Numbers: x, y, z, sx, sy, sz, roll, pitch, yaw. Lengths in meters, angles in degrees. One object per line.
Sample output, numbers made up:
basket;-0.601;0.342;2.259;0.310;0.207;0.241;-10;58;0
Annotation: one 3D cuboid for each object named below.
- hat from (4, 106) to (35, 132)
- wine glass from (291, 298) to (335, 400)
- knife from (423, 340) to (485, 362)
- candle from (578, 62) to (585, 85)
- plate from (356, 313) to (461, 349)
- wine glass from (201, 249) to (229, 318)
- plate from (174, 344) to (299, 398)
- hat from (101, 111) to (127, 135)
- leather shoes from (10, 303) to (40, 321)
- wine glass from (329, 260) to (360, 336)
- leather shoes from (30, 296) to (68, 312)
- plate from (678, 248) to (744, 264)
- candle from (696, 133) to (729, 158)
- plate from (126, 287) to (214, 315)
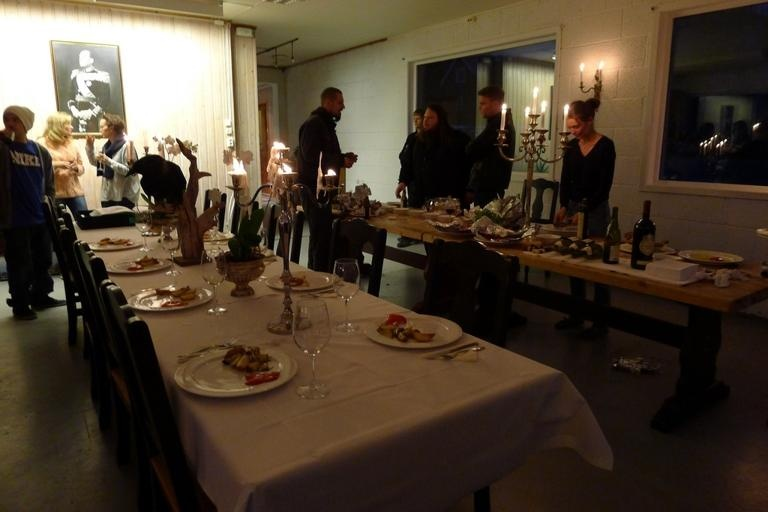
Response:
hat;-3.362;-1.266;5.064;0.223;0.263;0.298;-3;15;-10
wine glass;-0.318;0.368;2.378;0.146;0.391;0.309;-3;15;-8
knife;0.326;0.440;2.542;0.297;0.092;0.098;-7;18;-28
candle;2.153;-1.990;5.945;0.059;0.207;0.155;3;16;13
plate;0.144;0.357;2.665;0.452;0.097;0.331;7;17;27
wine glass;-0.921;0.119;2.940;0.111;0.311;0.358;-6;16;-17
plate;-0.654;0.509;2.404;0.527;0.092;0.296;-2;15;-3
hat;-3.093;-1.496;6.206;0.150;0.202;0.227;0;15;5
leather shoes;-3.310;0.522;4.995;0.284;0.127;0.109;2;2;31
wine glass;-0.195;0.171;2.769;0.117;0.351;0.310;-2;15;-5
leather shoes;-3.218;0.460;5.276;0.372;0.163;0.134;-6;16;-28
plate;2.092;0.009;3.495;0.359;0.042;0.286;7;17;27
candle;3.164;-1.065;5.226;0.242;0.198;0.059;9;18;33
plate;-1.175;0.216;2.996;0.429;0.085;0.331;-5;16;-15
